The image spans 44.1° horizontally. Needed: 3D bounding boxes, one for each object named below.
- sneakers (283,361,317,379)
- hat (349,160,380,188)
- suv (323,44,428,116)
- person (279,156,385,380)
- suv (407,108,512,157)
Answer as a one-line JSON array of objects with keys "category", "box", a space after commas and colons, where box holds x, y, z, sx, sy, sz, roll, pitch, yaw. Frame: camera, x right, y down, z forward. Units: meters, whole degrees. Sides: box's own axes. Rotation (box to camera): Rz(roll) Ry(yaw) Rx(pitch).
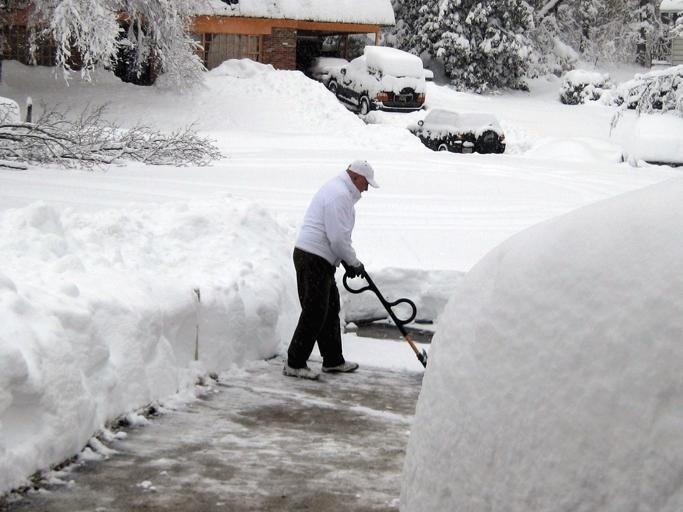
[{"category": "sneakers", "box": [-0.343, 0.952, 7.143, 0.304, 0.175, 0.126, 2, 10, -4]}, {"category": "hat", "box": [0.221, -0.721, 7.448, 0.295, 0.184, 0.203, 36, 11, -9]}, {"category": "suv", "box": [1.073, -5.338, 25.691, 1.640, 1.904, 3.374, -8, 20, -26]}, {"category": "person", "box": [-0.127, 0.098, 7.347, 0.859, 1.887, 0.492, -2, 0, -13]}, {"category": "suv", "box": [2.667, -3.104, 20.004, 1.074, 0.956, 1.896, -8, 29, -27]}]
